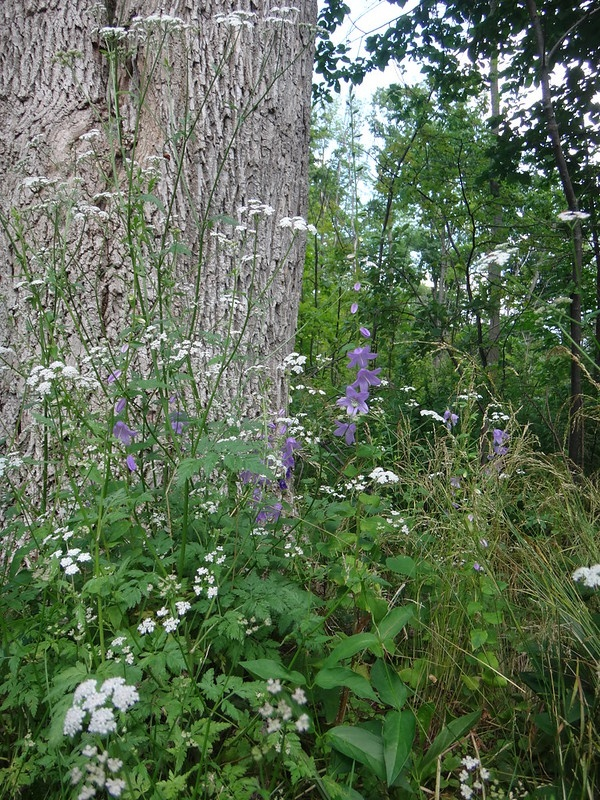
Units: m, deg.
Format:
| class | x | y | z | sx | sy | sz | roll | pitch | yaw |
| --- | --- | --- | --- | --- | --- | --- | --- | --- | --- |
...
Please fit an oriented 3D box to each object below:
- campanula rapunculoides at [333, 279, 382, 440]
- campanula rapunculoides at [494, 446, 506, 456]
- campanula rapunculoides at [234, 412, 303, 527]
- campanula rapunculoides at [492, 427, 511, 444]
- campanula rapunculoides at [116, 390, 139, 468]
| class | x | y | z | sx | sy | sz | roll | pitch | yaw |
| --- | --- | --- | --- | --- | --- | --- | --- | --- | --- |
| campanula rapunculoides | 0.233 | -0.152 | 2.587 | 0.221 | 0.629 | 0.175 | 6 | 4 | 11 |
| campanula rapunculoides | 0.903 | 0.226 | 2.983 | 0.067 | 0.027 | 0.069 | -8 | -11 | 26 |
| campanula rapunculoides | -0.122 | 0.268 | 2.492 | 0.282 | 0.491 | 0.254 | -8 | 49 | -18 |
| campanula rapunculoides | 0.936 | 0.170 | 3.094 | 0.084 | 0.094 | 0.048 | -5 | 3 | 20 |
| campanula rapunculoides | -0.627 | 0.116 | 2.379 | 0.089 | 0.290 | 0.061 | 9 | 20 | 4 |
